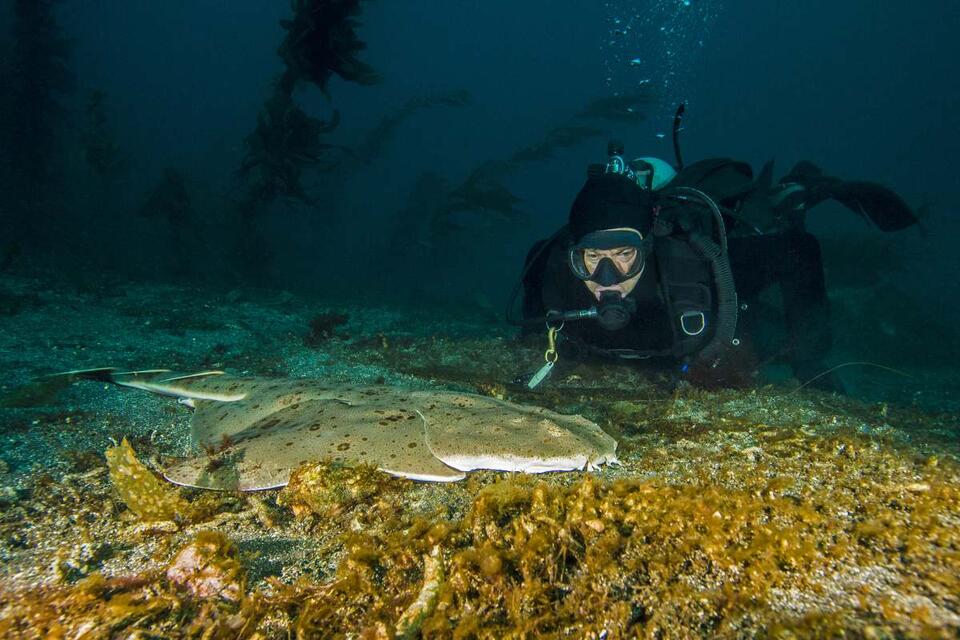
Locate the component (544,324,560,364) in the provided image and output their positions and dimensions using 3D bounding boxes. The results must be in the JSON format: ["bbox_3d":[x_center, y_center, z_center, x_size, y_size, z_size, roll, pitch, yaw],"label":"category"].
[{"bbox_3d":[1.156,0.391,11.808,0.308,0.551,0.169,2,-8,14],"label":"component"}]
